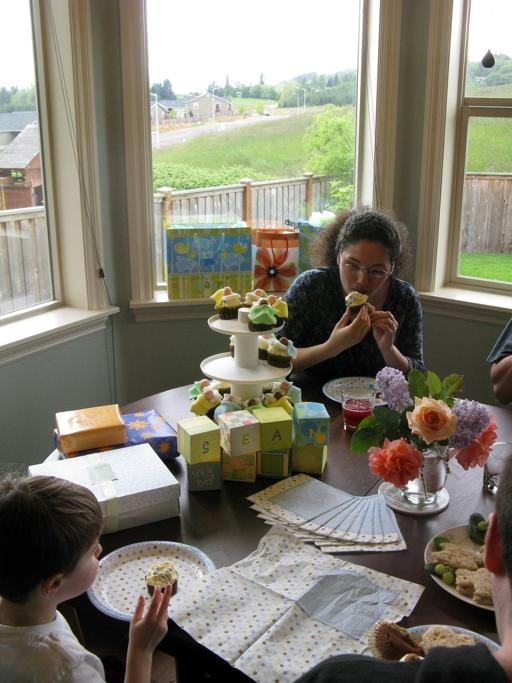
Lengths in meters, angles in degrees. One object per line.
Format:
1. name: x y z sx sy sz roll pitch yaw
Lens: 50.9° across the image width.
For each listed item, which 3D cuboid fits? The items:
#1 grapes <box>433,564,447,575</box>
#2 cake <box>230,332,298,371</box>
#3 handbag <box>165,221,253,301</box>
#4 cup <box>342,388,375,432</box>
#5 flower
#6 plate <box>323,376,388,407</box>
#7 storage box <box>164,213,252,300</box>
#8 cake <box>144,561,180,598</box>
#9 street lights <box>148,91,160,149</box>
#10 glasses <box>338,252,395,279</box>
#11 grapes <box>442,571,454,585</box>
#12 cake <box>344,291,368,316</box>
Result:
1. grapes: 0.311 0.389 0.920 0.017 0.019 0.017 2 4 -6
2. cake: 0.019 0.025 1.329 0.144 0.052 0.084 1 16 -29
3. handbag: -0.271 -0.420 2.679 0.425 0.340 0.224 -6 13 -23
4. cup: 0.273 0.189 1.528 0.105 0.112 0.096 1 19 -1
5. flower: 0.306 0.181 1.060 0.182 0.170 0.237 4 3 -7
6. plate: 0.294 0.142 1.692 0.111 0.018 0.106 -4 23 -13
7. storage box: -0.291 -0.398 2.697 0.468 0.322 0.247 -7 12 -31
8. cake: -0.159 0.398 0.917 0.057 0.051 0.057 0 0 1
9. street lights: -0.501 -1.080 2.607 0.046 0.255 0.126 -3 10 1
10. glasses: 0.360 -0.246 1.782 0.146 0.081 0.058 -2 10 8
11. grapes: 0.322 0.398 0.902 0.019 0.021 0.018 -4 12 -5
12. cake: 0.323 -0.119 1.752 0.062 0.084 0.107 -1 10 12
